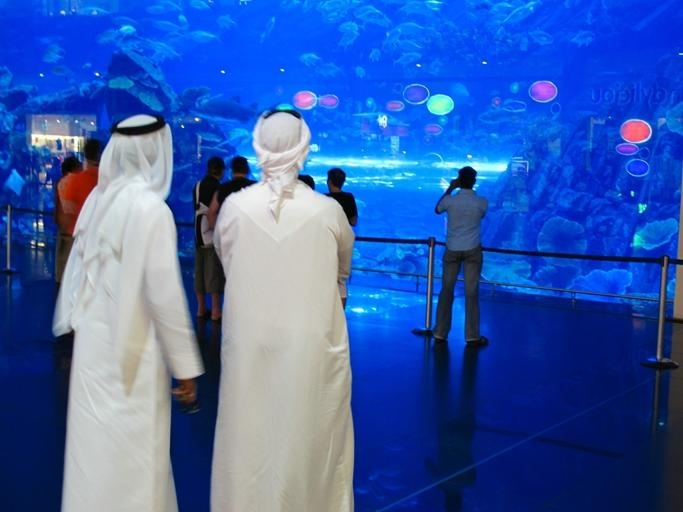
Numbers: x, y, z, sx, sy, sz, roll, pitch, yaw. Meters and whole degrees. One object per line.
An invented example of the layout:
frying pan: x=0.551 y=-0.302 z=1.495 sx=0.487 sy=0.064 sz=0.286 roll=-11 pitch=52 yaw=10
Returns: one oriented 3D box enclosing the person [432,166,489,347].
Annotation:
person: x=1.395 y=-0.001 z=7.063 sx=0.660 sy=1.997 sz=0.641 roll=3 pitch=9 yaw=7
